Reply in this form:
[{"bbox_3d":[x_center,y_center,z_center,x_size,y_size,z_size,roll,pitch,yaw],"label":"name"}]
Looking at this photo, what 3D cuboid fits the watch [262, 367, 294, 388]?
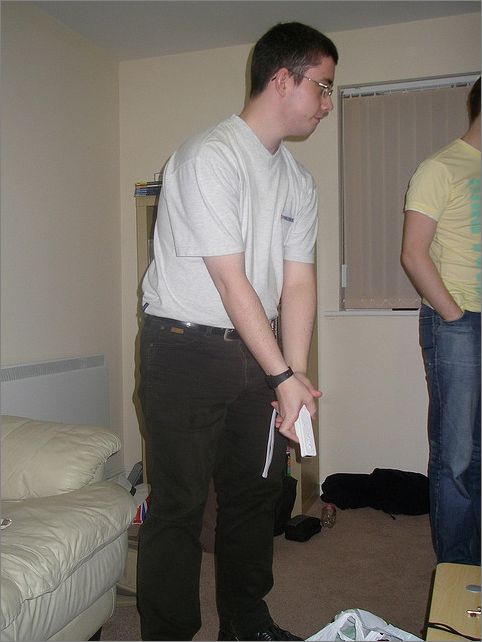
[{"bbox_3d":[0.072,0.107,0.993,0.043,0.034,0.047,-15,6,-29],"label":"watch"}]
